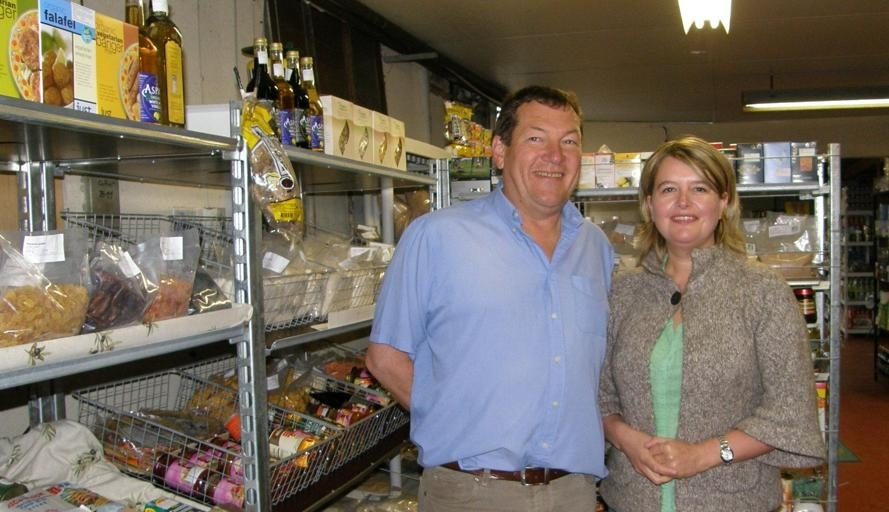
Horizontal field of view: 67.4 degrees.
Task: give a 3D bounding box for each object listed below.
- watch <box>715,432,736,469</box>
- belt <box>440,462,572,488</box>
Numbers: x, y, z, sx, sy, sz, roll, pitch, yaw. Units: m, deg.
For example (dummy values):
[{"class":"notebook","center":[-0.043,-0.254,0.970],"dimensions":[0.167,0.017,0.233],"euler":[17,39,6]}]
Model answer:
[{"class":"watch","center":[1.227,0.854,2.915],"dimensions":[0.073,0.110,0.110],"euler":[-23,-8,20]},{"class":"belt","center":[0.269,0.950,2.898],"dimensions":[0.550,0.087,0.071],"euler":[5,-4,0]}]
